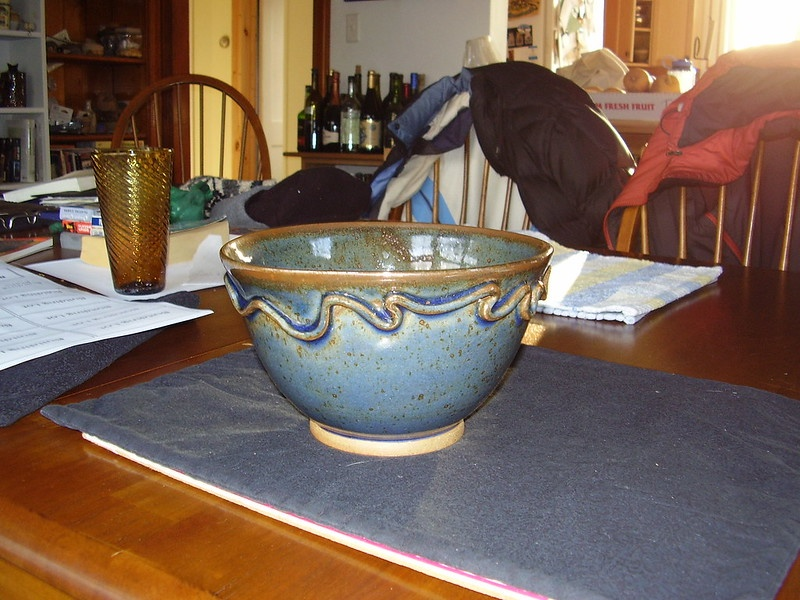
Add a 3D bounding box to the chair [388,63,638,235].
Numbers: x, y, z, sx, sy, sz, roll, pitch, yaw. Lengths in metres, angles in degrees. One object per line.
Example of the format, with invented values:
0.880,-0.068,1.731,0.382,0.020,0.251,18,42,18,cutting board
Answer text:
0.374,-0.475,1.631,0.367,0.245,0.617,14,22,-3,chair
